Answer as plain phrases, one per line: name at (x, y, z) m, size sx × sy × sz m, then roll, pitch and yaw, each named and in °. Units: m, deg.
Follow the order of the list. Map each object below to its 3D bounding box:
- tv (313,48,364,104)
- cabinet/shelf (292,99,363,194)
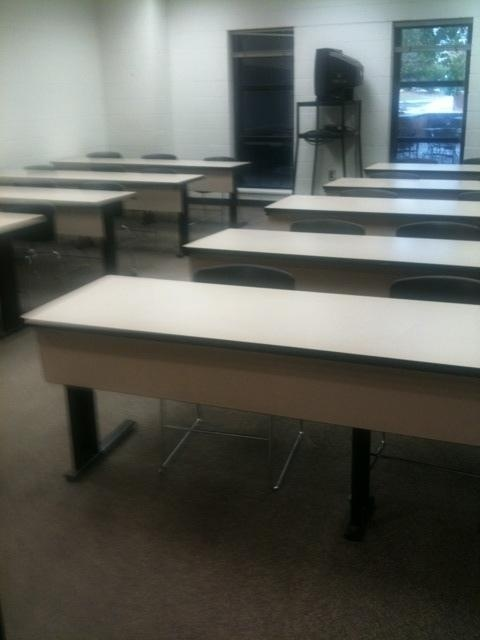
tv at (1.145, -2.883, 5.984) m, size 0.445 × 0.599 × 0.594 m, roll 2°, pitch 24°, yaw 11°
cabinet/shelf at (1.155, -2.022, 6.186) m, size 0.523 × 0.813 × 0.525 m, roll -2°, pitch 30°, yaw 21°
